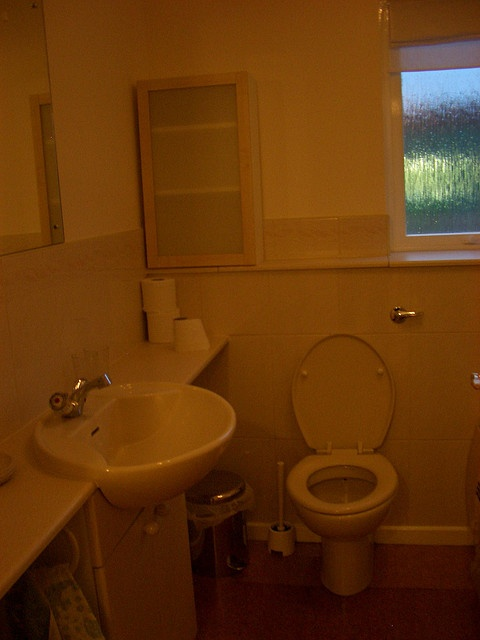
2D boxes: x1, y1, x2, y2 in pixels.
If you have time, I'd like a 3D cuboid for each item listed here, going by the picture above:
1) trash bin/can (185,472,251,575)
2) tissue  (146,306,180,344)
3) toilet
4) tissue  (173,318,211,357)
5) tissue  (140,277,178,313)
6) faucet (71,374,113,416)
[{"bbox_3d":[-0.047,0.721,2.051,0.245,0.343,0.279,1,12,14],"label":"trash bin/can"},{"bbox_3d":[-0.279,0.025,2.039,0.104,0.143,0.119,3,19,16],"label":"tissue "},{"bbox_3d":[0.340,0.376,1.857,0.369,0.599,0.477,0,7,15],"label":"toilet"},{"bbox_3d":[-0.166,0.061,1.880,0.113,0.136,0.082,-1,9,-5],"label":"tissue "},{"bbox_3d":[-0.285,-0.087,1.948,0.102,0.136,0.117,-4,18,-7],"label":"tissue "},{"bbox_3d":[-0.334,0.165,1.216,0.086,0.080,0.080,-5,8,-24],"label":"faucet"}]
